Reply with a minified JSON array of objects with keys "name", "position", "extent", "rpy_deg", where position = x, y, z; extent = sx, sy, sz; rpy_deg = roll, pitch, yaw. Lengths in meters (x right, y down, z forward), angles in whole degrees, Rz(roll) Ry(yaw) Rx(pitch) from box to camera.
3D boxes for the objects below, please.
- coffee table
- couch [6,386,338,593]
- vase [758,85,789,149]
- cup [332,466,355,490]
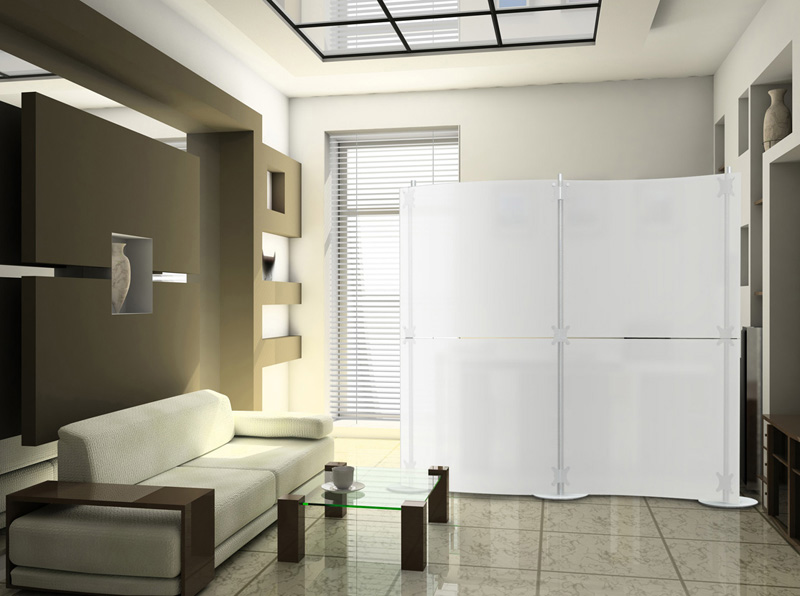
[{"name":"coffee table","position":[-0.258,1.263,4.022],"extent":[0.725,0.388,0.731],"rpy_deg":[-1,0,17]},{"name":"couch","position":[-1.403,1.168,4.324],"extent":[1.057,0.855,1.939],"rpy_deg":[2,6,19]},{"name":"vase","position":[3.035,-1.439,5.140],"extent":[0.172,0.491,0.257],"rpy_deg":[2,6,22]},{"name":"cup","position":[-0.355,1.110,3.984],"extent":[0.133,0.143,0.142],"rpy_deg":[0,5,0]}]
